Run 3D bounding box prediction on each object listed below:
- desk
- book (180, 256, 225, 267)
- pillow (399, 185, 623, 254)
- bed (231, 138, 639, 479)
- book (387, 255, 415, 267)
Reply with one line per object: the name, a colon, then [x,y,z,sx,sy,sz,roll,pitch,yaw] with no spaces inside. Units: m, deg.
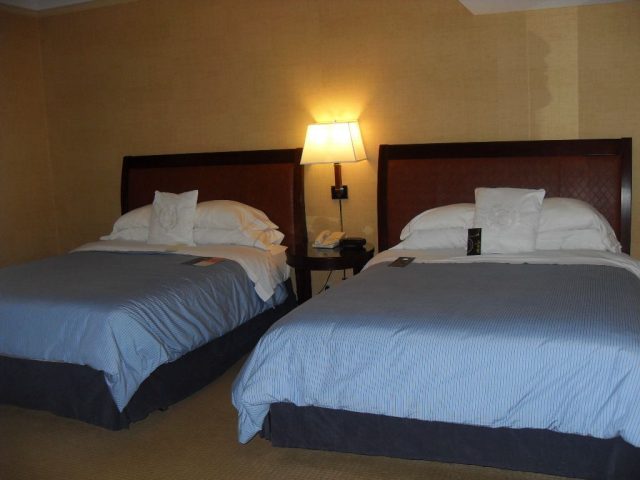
desk: [0.081,0.208,4.232,0.521,0.584,0.508,-6,16,-13]
book: [-0.857,0.164,4.016,0.269,0.037,0.252,1,6,8]
pillow: [1.327,-0.138,3.861,1.436,0.447,0.505,3,7,29]
bed: [0.980,0.172,3.432,2.147,1.691,1.983,2,7,15]
book: [0.546,0.151,3.626,0.141,0.039,0.196,3,7,25]
